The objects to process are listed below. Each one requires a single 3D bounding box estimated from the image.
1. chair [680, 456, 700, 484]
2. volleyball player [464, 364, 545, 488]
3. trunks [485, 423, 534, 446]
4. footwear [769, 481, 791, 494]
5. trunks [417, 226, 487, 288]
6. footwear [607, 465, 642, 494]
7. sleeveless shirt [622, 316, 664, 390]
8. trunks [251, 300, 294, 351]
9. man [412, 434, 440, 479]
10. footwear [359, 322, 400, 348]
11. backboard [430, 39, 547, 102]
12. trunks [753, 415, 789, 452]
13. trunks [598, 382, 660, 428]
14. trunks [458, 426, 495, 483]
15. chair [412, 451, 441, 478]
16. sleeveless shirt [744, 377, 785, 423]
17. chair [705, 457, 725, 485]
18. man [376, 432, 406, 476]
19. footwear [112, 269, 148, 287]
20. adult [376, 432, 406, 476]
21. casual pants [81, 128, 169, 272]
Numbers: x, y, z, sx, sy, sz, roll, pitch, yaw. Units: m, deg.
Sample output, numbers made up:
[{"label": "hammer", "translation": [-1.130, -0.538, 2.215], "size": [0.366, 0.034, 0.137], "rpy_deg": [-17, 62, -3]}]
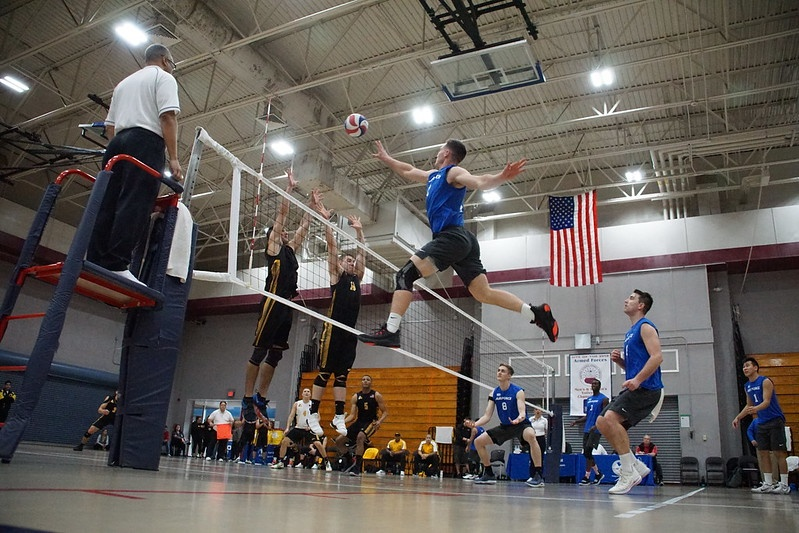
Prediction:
[{"label": "chair", "translation": [7.772, 5.444, 13.834], "size": [0.519, 0.701, 0.340], "rpy_deg": [-10, -24, 26]}, {"label": "volleyball player", "translation": [1.758, 2.502, 8.451], "size": [0.997, 1.974, 1.378], "rpy_deg": [-4, -23, 13]}, {"label": "trunks", "translation": [1.700, 2.597, 8.166], "size": [0.496, 0.228, 0.496], "rpy_deg": [-1, -3, 12]}, {"label": "footwear", "translation": [6.246, 3.630, 8.479], "size": [0.247, 0.172, 0.472], "rpy_deg": [-12, -27, 30]}, {"label": "trunks", "translation": [0.535, -0.164, 5.419], "size": [0.425, 0.568, 0.860], "rpy_deg": [-12, -26, 31]}, {"label": "footwear", "translation": [2.582, 2.473, 5.962], "size": [0.332, 0.286, 0.537], "rpy_deg": [-5, -23, 14]}, {"label": "sleeveless shirt", "translation": [2.920, 1.078, 6.200], "size": [0.379, 0.817, 0.510], "rpy_deg": [1, -14, 13]}, {"label": "trunks", "translation": [-1.546, 0.707, 6.355], "size": [0.373, 0.614, 0.570], "rpy_deg": [5, -22, -8]}, {"label": "man", "translation": [0.752, 5.235, 14.311], "size": [0.602, 1.128, 0.631], "rpy_deg": [0, -26, 8]}, {"label": "footwear", "translation": [-0.198, 0.671, 5.224], "size": [0.407, 0.283, 0.236], "rpy_deg": [3, -22, -4]}, {"label": "backboard", "translation": [1.865, -4.125, 10.906], "size": [2.060, 0.379, 1.184], "rpy_deg": [-8, -25, 22]}, {"label": "trunks", "translation": [6.168, 2.786, 8.574], "size": [0.391, 0.522, 0.506], "rpy_deg": [-7, -24, 20]}, {"label": "trunks", "translation": [2.688, 1.618, 5.948], "size": [0.762, 0.422, 0.360], "rpy_deg": [10, -23, -19]}, {"label": "trunks", "translation": [1.898, 4.673, 13.289], "size": [0.514, 1.432, 0.481], "rpy_deg": [11, -22, 16]}, {"label": "chair", "translation": [0.755, 5.442, 14.361], "size": [0.599, 0.658, 1.223], "rpy_deg": [3, -23, -3]}, {"label": "sleeveless shirt", "translation": [6.033, 2.189, 8.585], "size": [0.400, 0.772, 0.643], "rpy_deg": [-14, -27, 33]}, {"label": "chair", "translation": [8.345, 5.389, 13.659], "size": [0.556, 0.671, 0.327], "rpy_deg": [-9, -24, 24]}, {"label": "man", "translation": [-0.190, 5.322, 14.817], "size": [0.765, 1.260, 0.848], "rpy_deg": [15, -29, -17]}, {"label": "footwear", "translation": [-2.311, 0.119, 4.452], "size": [0.275, 0.101, 0.091], "rpy_deg": [35, 1, -29]}, {"label": "adult", "translation": [-0.105, 5.328, 14.832], "size": [0.727, 1.287, 0.825], "rpy_deg": [-10, -31, 28]}, {"label": "casual pants", "translation": [-2.399, -0.573, 4.509], "size": [0.473, 1.240, 0.508], "rpy_deg": [16, -26, -32]}]
